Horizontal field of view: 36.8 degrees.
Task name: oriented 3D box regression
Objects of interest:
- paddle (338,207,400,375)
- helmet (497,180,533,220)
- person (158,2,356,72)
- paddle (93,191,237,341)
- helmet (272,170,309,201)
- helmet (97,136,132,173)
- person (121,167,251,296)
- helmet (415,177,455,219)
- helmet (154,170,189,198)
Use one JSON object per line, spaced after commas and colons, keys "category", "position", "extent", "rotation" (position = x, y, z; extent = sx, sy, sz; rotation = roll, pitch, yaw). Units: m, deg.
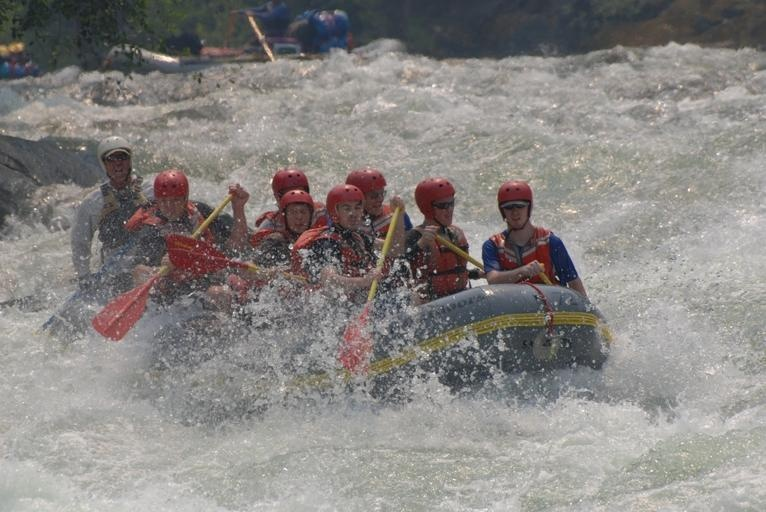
{"category": "paddle", "position": [-0.031, 0.256, 12.675], "extent": [0.363, 0.106, 2.253], "rotation": [21, 67, 5]}
{"category": "helmet", "position": [1.490, -0.570, 12.942], "extent": [0.467, 0.531, 0.453], "rotation": [-4, 94, -10]}
{"category": "person", "position": [-1.882, -3.312, 17.737], "extent": [2.754, 1.006, 1.080], "rotation": [-4, 31, -2]}
{"category": "paddle", "position": [-2.539, 0.174, 13.235], "extent": [2.635, 0.120, 0.440], "rotation": [-39, 88, -16]}
{"category": "helmet", "position": [-1.100, -0.840, 13.626], "extent": [0.351, 0.426, 0.363], "rotation": [-2, 75, -18]}
{"category": "helmet", "position": [-3.218, -1.257, 13.873], "extent": [0.356, 0.450, 0.380], "rotation": [-7, 89, -23]}
{"category": "person", "position": [-2.460, -0.379, 13.505], "extent": [1.358, 0.758, 1.566], "rotation": [-11, 37, -1]}
{"category": "helmet", "position": [0.579, -0.663, 12.981], "extent": [0.533, 0.380, 0.386], "rotation": [6, 108, 12]}
{"category": "helmet", "position": [-2.447, -0.840, 13.280], "extent": [0.312, 0.373, 0.309], "rotation": [-1, 71, -15]}
